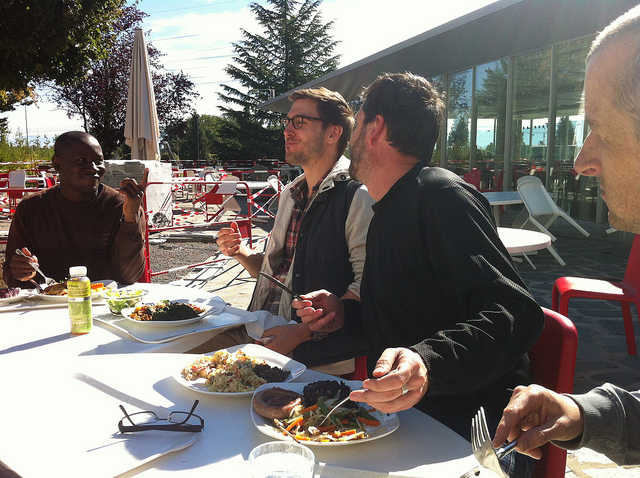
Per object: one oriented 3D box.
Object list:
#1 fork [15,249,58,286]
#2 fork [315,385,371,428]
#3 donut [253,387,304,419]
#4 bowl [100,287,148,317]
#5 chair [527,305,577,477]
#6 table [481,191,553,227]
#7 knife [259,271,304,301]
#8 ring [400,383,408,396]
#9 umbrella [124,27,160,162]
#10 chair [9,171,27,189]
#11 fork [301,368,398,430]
[{"bbox_3d":[-1.815,0.184,3.266,0.043,0.318,0.035,-38,27,-2],"label":"fork"},{"bbox_3d":[0.079,0.601,1.804,0.248,0.027,0.036,-43,32,-21],"label":"fork"},{"bbox_3d":[-0.160,0.600,1.870,0.162,0.059,0.156,3,8,32],"label":"donut"},{"bbox_3d":[-1.106,0.346,2.807,0.246,0.107,0.261,4,2,0],"label":"bowl"},{"bbox_3d":[0.951,0.651,2.125,0.184,0.701,0.255,2,7,27],"label":"chair"},{"bbox_3d":[3.037,-0.465,7.724,0.551,0.529,1.048,-3,12,-6],"label":"table"},{"bbox_3d":[-0.253,0.314,3.333,0.369,0.041,0.041,33,2,-9],"label":"knife"},{"bbox_3d":[0.272,0.491,1.661,0.025,0.029,0.028,1,-1,0],"label":"ring"},{"bbox_3d":[-3.930,-3.157,11.165,0.698,2.782,1.040,-4,7,-24],"label":"umbrella"},{"bbox_3d":[-8.676,-1.719,14.622,0.407,0.483,1.661,-5,8,-31],"label":"chair"},{"bbox_3d":[0.100,0.578,1.805,0.356,0.045,0.056,-37,-49,23],"label":"fork"}]
